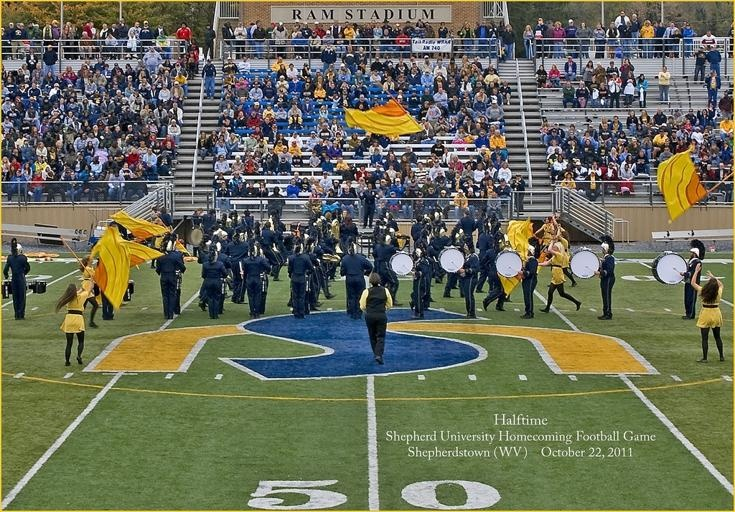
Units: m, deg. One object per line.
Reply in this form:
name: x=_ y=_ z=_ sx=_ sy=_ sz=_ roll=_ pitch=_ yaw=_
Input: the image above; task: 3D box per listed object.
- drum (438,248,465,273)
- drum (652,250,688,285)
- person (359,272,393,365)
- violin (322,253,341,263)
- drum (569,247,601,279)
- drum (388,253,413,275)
drum: x=2.496 y=0.161 z=42.880 sx=0.737 sy=0.730 sz=0.457 roll=1 pitch=15 yaw=2
drum: x=8.622 y=0.389 z=41.600 sx=1.061 sy=0.927 sz=0.376 roll=-20 pitch=-3 yaw=-3
person: x=0.230 y=1.609 z=37.505 sx=0.733 sy=2.350 sz=0.782 roll=1 pitch=15 yaw=4
violin: x=-1.032 y=0.097 z=45.128 sx=0.203 sy=0.245 sz=0.725 roll=51 pitch=20 yaw=25
drum: x=6.255 y=0.241 z=42.023 sx=0.814 sy=0.841 sz=0.555 roll=3 pitch=15 yaw=10
drum: x=1.025 y=0.251 z=42.408 sx=0.668 sy=0.630 sz=0.432 roll=0 pitch=15 yaw=1
